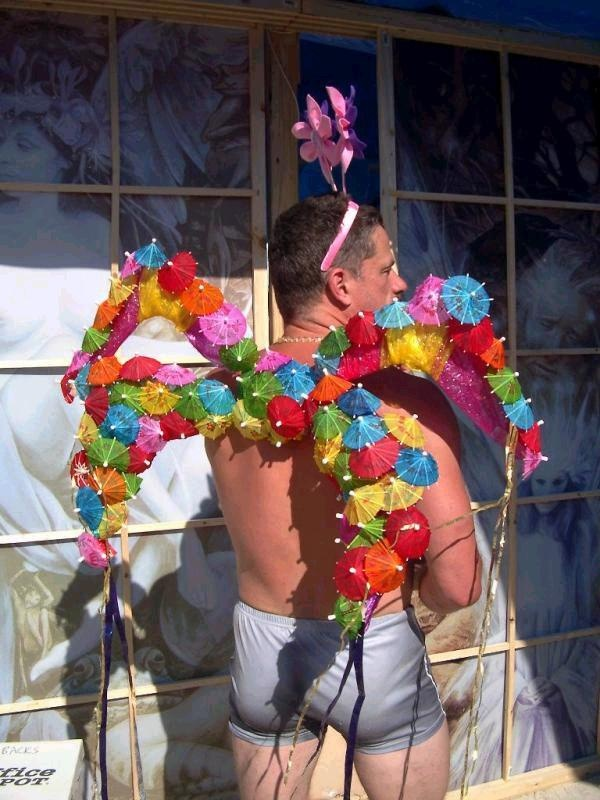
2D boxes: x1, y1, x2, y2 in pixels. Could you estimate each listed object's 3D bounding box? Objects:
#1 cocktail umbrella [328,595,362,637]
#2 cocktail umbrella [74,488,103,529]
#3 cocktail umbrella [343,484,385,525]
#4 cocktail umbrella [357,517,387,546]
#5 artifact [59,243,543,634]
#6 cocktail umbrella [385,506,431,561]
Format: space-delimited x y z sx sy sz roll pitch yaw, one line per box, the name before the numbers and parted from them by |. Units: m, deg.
cocktail umbrella | 0.089 0.426 1.953 0.053 0.081 0.023 -14 -6 14
cocktail umbrella | -0.469 0.237 2.244 0.048 0.082 0.097 -22 26 -39
cocktail umbrella | 0.132 0.218 1.981 0.081 0.077 0.043 -35 -42 14
cocktail umbrella | 0.142 0.263 1.944 0.054 0.047 0.050 1 -14 6
artifact | -0.046 0.058 2.165 1.062 0.756 0.351 -4 -1 21
cocktail umbrella | 0.213 0.263 1.933 0.102 0.090 0.038 17 -10 -18
